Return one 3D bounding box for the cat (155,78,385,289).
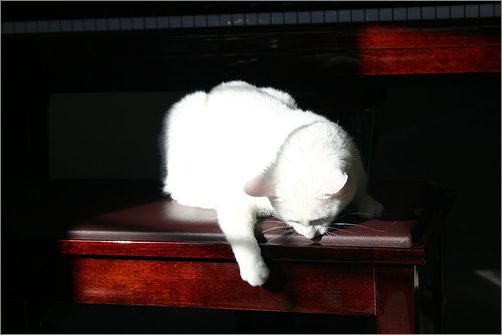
[{"bbox_3d":[0.028,-0.032,1.961,0.656,0.335,0.862,-17,41,-23],"label":"cat"}]
